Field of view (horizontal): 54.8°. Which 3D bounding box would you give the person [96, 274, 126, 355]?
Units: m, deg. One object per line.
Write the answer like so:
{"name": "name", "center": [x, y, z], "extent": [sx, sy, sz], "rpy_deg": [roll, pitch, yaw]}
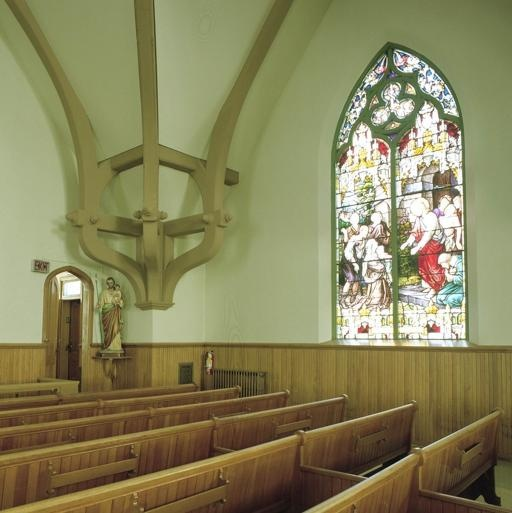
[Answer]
{"name": "person", "center": [-2.243, 0.910, 7.592], "extent": [0.416, 1.141, 0.339], "rpy_deg": [-1, -6, -3]}
